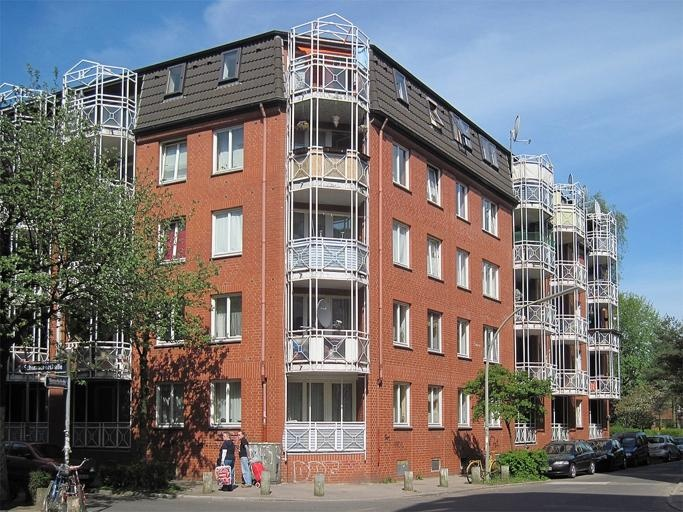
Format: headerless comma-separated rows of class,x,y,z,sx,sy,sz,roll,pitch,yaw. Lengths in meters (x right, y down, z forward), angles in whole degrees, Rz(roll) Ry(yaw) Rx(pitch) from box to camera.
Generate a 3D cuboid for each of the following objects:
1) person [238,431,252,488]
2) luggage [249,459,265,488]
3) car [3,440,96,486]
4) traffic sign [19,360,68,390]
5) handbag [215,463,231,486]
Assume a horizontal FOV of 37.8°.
person,-3.894,8.270,40.804,0.529,2.149,1.159,-1,-5,-7
luggage,-3.446,8.928,40.872,0.686,1.310,0.790,-6,-9,1
car,-11.894,8.302,39.783,3.294,1.245,1.702,-4,-10,19
traffic sign,-9.928,4.007,33.697,1.466,0.925,0.720,-4,-6,22
handbag,-4.612,8.692,39.398,0.620,0.843,0.585,-6,-6,39
